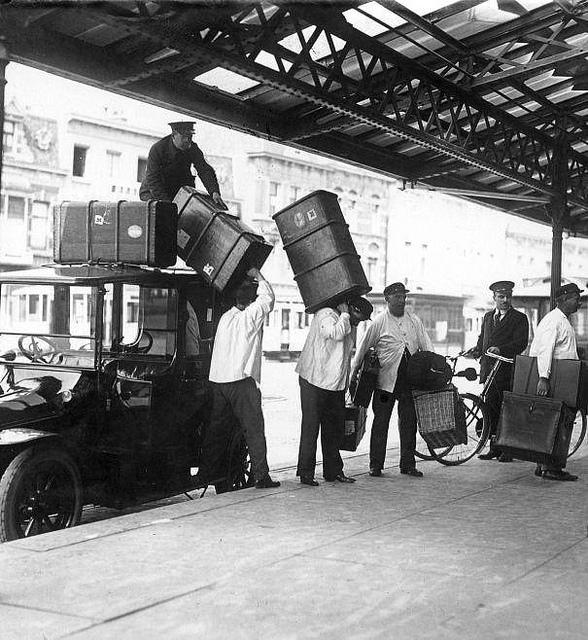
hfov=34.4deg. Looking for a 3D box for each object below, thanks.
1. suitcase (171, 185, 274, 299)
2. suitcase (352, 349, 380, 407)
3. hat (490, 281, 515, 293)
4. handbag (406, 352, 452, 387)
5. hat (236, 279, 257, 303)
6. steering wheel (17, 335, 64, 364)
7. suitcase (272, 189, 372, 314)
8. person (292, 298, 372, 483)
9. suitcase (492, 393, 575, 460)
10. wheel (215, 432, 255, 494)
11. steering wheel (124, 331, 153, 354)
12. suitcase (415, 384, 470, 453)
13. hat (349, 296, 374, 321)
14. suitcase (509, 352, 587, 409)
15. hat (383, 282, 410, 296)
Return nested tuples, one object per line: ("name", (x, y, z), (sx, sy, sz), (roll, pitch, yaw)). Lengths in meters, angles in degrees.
("suitcase", (-0.810, -0.590, 8.447), (0.810, 0.587, 0.480), (23, -15, 10))
("suitcase", (0.708, 0.558, 9.325), (0.139, 0.418, 0.386), (13, 34, 1))
("hat", (2.351, -0.380, 10.764), (0.244, 0.123, 0.225), (2, 2, 12))
("handbag", (1.339, 0.473, 9.343), (0.279, 0.312, 0.387), (-1, -7, 42))
("hat", (-0.409, -0.255, 8.336), (0.141, 0.200, 0.190), (2, 13, -2))
("steering wheel", (-2.090, 0.238, 7.834), (0.389, 0.216, 0.080), (2, 2, 20))
("suitcase", (0.280, -0.645, 8.930), (0.948, 1.153, 0.360), (2, 2, 23))
("person", (0.339, 0.658, 8.851), (0.576, 1.749, 0.661), (2, 2, 24))
("suitcase", (2.389, 1.040, 9.408), (0.379, 0.512, 0.631), (31, -11, -39))
("wheel", (-0.535, 1.277, 8.616), (0.154, 0.529, 0.561), (2, 2, 27))
("steering wheel", (-1.308, 0.186, 8.017), (0.245, 0.192, 0.049), (0, 2, -38))
("suitcase", (1.515, 0.994, 9.792), (0.448, 0.710, 0.554), (-10, 2, -2))
("hat", (0.646, -0.137, 8.922), (0.189, 0.050, 0.191), (35, 3, -5))
("suitcase", (2.623, 0.662, 9.629), (0.485, 0.575, 0.819), (17, -7, -39))
("hat", (0.974, -0.305, 9.320), (0.139, 0.076, 0.180), (2, -10, -43))
